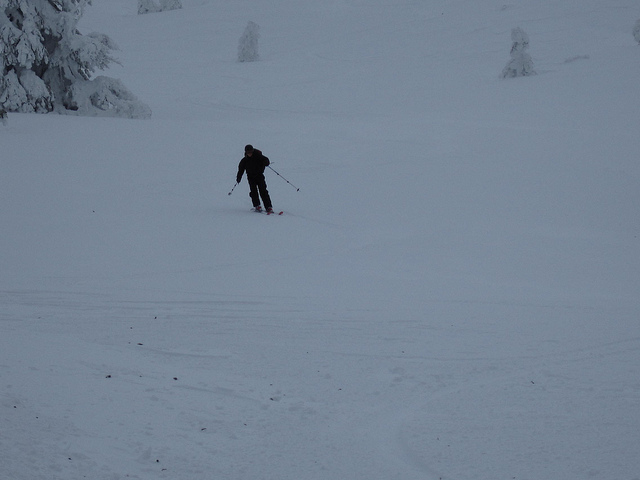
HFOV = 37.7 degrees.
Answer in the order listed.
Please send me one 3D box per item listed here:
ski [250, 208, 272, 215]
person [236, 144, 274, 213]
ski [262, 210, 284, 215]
[{"bbox_3d":[-1.833,-0.899,28.872,0.672,0.221,0.122,13,8,28],"label":"ski"},{"bbox_3d":[-1.973,-1.929,28.715,1.096,2.218,1.124,-1,18,-4],"label":"person"},{"bbox_3d":[-1.479,-0.850,28.927,0.126,0.208,0.641,-12,-5,35],"label":"ski"}]
